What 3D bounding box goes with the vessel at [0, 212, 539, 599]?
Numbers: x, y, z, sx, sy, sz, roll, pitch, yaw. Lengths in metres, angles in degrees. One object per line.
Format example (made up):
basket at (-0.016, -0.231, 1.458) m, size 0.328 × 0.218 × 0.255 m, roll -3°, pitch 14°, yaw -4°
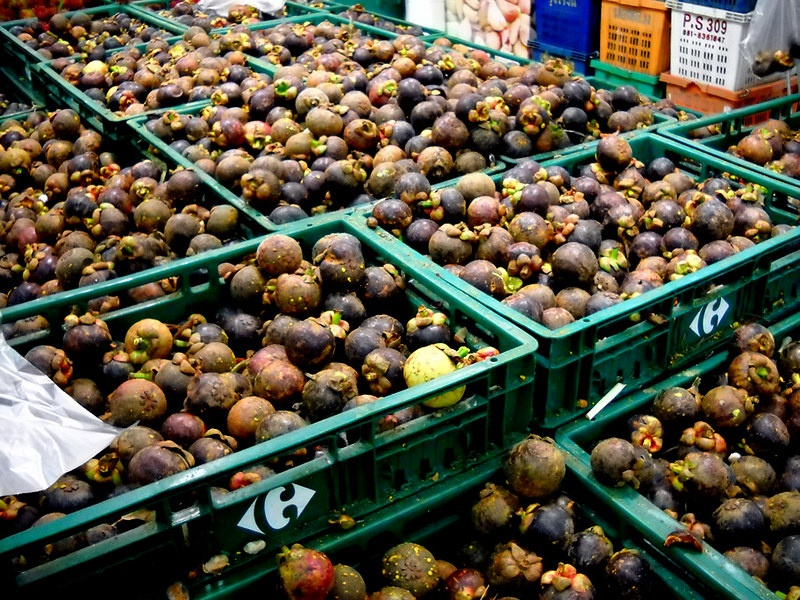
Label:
vessel at (-0.362, 0.655, 2.922) m, size 1.873 × 0.622 × 1.313 m, roll -25°, pitch 44°, yaw -29°
